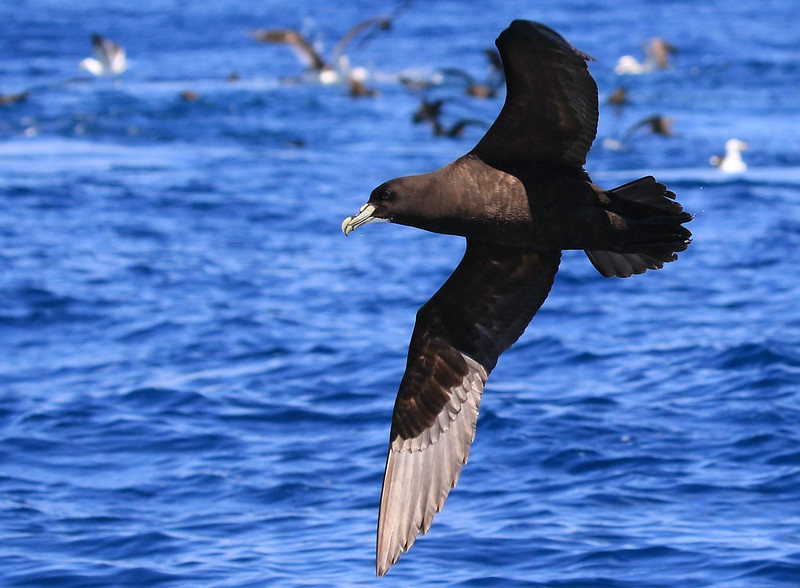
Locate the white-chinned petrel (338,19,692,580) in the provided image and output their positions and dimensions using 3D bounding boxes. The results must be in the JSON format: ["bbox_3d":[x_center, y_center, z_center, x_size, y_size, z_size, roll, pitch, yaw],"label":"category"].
[{"bbox_3d":[1.206,0.107,21.246,3.530,7.063,1.086,11,7,-3],"label":"white-chinned petrel"}]
